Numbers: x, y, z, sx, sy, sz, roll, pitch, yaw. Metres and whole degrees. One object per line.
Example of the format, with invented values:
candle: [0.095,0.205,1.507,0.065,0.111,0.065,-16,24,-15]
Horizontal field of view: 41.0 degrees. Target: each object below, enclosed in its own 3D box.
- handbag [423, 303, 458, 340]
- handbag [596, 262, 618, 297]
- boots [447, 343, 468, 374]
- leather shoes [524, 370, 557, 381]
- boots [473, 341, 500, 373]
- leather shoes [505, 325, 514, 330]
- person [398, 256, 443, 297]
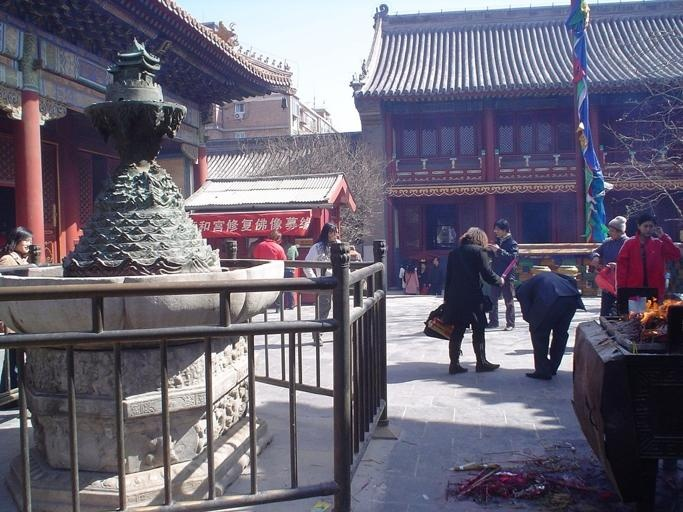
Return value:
handbag: [1.259,0.804,11.739,0.422,0.439,0.377,18,5,12]
handbag: [3.606,0.328,12.475,0.418,0.463,0.179,8,-32,0]
boots: [1.487,1.282,11.618,0.200,0.403,0.359,0,2,32]
leather shoes: [2.446,1.434,11.259,0.355,0.158,0.124,4,6,36]
boots: [1.829,1.278,11.609,0.339,0.375,0.180,-1,2,1]
leather shoes: [2.611,1.131,14.274,0.048,0.069,0.166,-7,-8,0]
person: [1.878,0.530,21.833,0.725,1.499,0.493,1,-5,-25]
